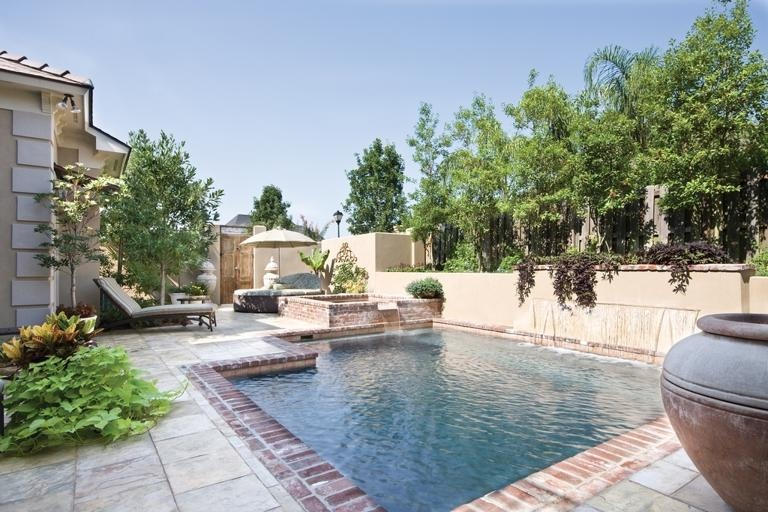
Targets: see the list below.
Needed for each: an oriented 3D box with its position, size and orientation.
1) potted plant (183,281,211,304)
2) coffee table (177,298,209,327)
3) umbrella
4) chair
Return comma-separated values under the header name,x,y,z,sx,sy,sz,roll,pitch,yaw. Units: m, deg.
name,x,y,z,sx,sy,sz,roll,pitch,yaw
potted plant,-6.394,1.297,16.858,0.738,0.778,0.756,1,-5,-10
coffee table,-6.336,1.915,16.352,1.034,1.045,1.026,1,-2,-31
umbrella,-3.528,-0.472,17.696,2.193,1.502,2.267,-5,-7,33
chair,-5.676,1.320,12.444,2.642,1.251,1.389,2,-1,-20
